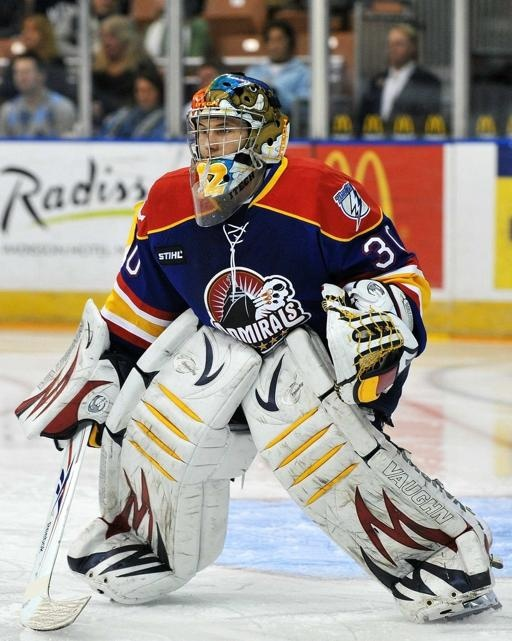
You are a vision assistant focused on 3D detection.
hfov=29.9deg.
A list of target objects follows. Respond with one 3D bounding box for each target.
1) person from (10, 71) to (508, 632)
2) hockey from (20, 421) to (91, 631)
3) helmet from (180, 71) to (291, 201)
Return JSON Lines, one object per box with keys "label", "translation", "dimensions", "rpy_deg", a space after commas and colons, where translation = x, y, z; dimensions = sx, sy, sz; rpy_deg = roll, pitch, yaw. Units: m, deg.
{"label": "person", "translation": [-0.024, 0.058, 1.884], "dimensions": [1.022, 1.038, 0.530], "rpy_deg": [2, 22, 11]}
{"label": "hockey", "translation": [-0.369, 0.423, 1.875], "dimensions": [0.100, 0.055, 0.373], "rpy_deg": [-5, 40, 12]}
{"label": "helmet", "translation": [-0.038, -0.383, 1.935], "dimensions": [0.242, 0.196, 0.171], "rpy_deg": [-6, 14, -35]}
